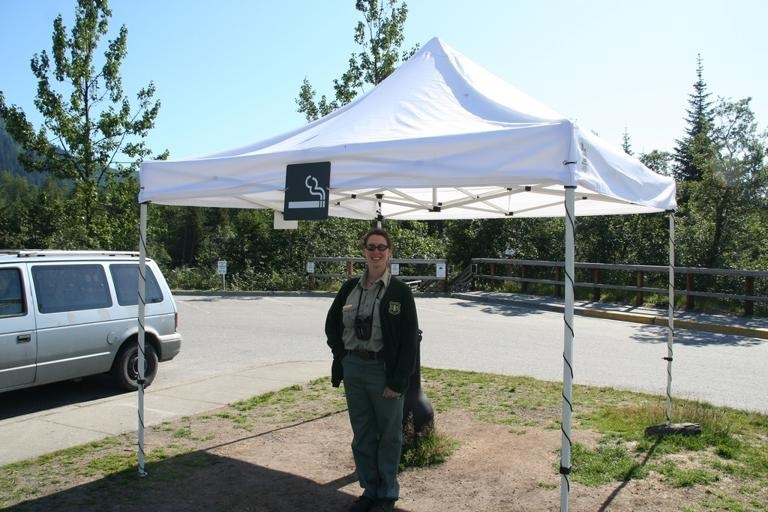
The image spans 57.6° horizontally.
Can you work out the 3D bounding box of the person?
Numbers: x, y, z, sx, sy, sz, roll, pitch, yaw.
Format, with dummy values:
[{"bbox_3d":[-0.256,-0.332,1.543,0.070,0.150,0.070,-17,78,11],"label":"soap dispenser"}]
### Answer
[{"bbox_3d":[-0.153,1.574,9.808,1.230,3.914,0.553,-1,1,8],"label":"person"}]
